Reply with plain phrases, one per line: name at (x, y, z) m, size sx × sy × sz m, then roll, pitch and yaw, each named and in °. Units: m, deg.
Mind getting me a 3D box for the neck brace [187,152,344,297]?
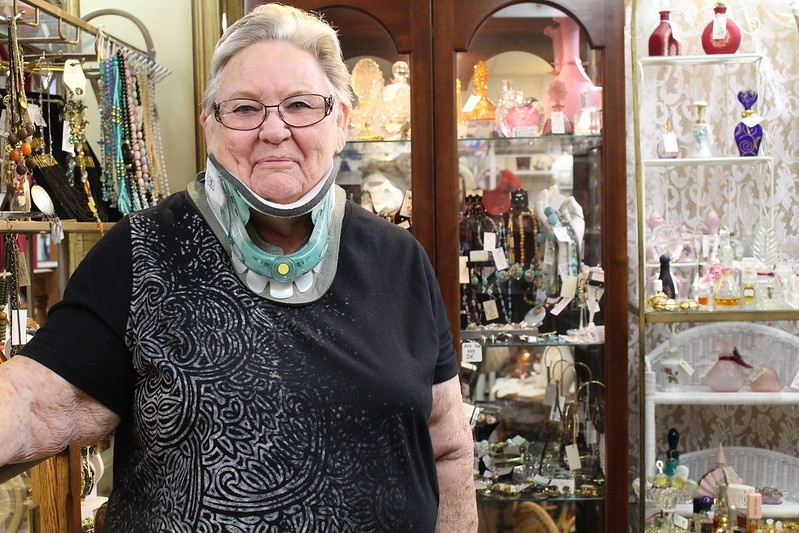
neck brace at (-0.315, -0.045, 2.184) m, size 0.280 × 0.215 × 0.401 m, roll -2°, pitch 41°, yaw -28°
